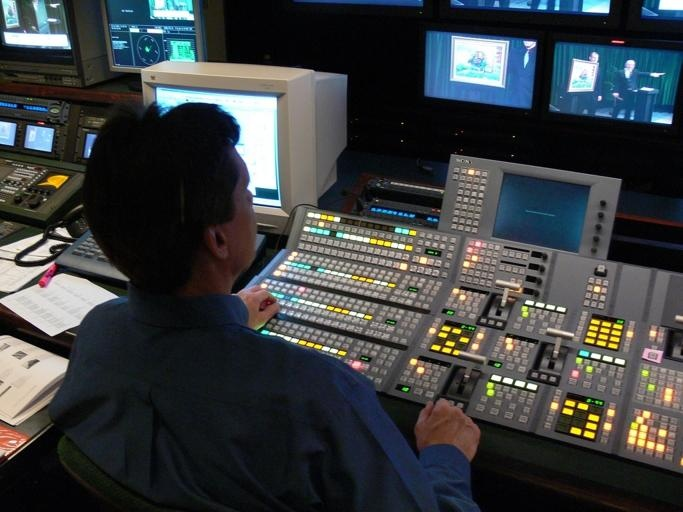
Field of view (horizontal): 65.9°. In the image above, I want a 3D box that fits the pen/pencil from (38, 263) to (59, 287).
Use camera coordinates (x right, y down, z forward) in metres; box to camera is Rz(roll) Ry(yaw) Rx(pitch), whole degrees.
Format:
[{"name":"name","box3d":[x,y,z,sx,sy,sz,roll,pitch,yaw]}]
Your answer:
[{"name":"pen/pencil","box3d":[-1.072,0.065,1.933,0.024,0.029,0.131,55,7,-25]}]
